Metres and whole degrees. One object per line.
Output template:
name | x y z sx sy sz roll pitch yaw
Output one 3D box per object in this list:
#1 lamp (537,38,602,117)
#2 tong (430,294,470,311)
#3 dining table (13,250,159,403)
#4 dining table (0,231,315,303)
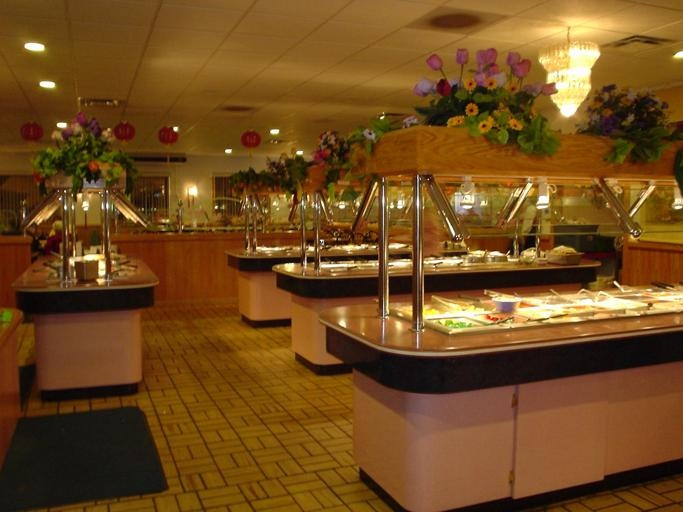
lamp | 2.485 -1.891 5.741 0.650 0.734 0.639 -7 12 -21
tong | 0.755 0.345 3.679 0.099 0.040 0.168 0 11 -41
dining table | -2.482 0.845 5.222 1.136 1.001 2.057 -1 5 -20
dining table | -3.208 0.208 10.062 8.018 1.104 1.854 -2 4 -12
